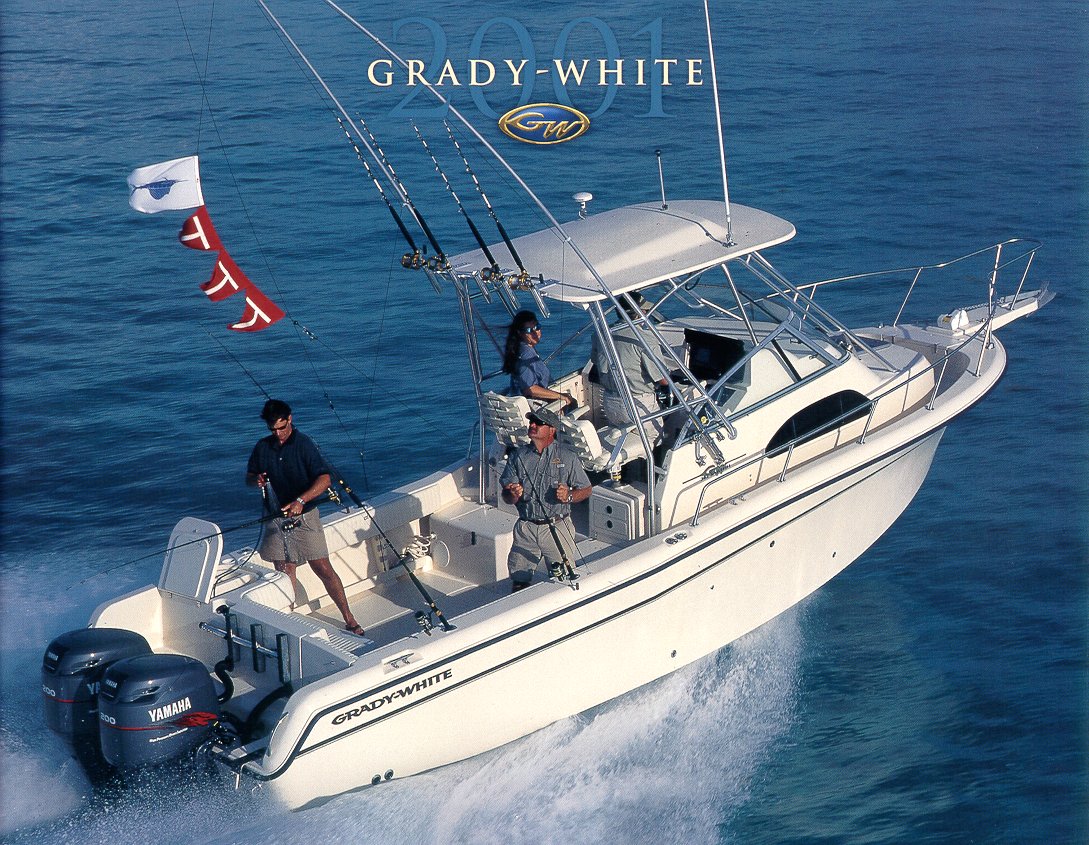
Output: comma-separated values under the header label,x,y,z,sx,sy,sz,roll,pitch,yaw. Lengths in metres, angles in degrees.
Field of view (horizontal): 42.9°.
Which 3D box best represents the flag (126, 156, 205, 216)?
label,x,y,z,sx,sy,sz,roll,pitch,yaw
flag,-2.899,-1.795,10.648,0.650,0.412,0.365,-16,26,-4
